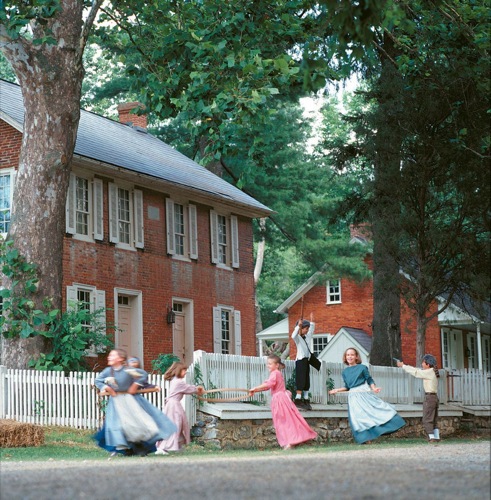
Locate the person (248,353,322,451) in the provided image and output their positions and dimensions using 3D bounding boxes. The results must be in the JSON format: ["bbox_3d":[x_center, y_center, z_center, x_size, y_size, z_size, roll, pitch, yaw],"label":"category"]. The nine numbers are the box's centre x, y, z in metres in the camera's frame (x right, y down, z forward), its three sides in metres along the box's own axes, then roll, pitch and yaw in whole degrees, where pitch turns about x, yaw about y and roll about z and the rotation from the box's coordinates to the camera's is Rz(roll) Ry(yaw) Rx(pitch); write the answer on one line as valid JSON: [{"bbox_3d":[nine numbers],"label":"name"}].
[{"bbox_3d":[0.557,2.272,13.303,0.547,1.417,1.060,-8,-13,32],"label":"person"}]

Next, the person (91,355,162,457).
[{"bbox_3d":[-1.509,1.914,11.153,0.773,1.310,0.612,0,-11,-9],"label":"person"}]

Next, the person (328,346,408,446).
[{"bbox_3d":[1.877,2.297,14.016,0.919,1.539,0.805,-10,-5,8],"label":"person"}]

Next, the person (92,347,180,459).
[{"bbox_3d":[-1.539,1.925,11.300,0.846,1.315,0.719,-8,-11,25],"label":"person"}]

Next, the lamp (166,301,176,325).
[{"bbox_3d":[-2.068,1.753,24.179,0.195,0.604,0.588,-3,-11,8],"label":"lamp"}]

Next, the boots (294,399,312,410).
[{"bbox_3d":[1.062,2.911,16.671,0.133,0.199,0.469,2,-14,-11],"label":"boots"}]
